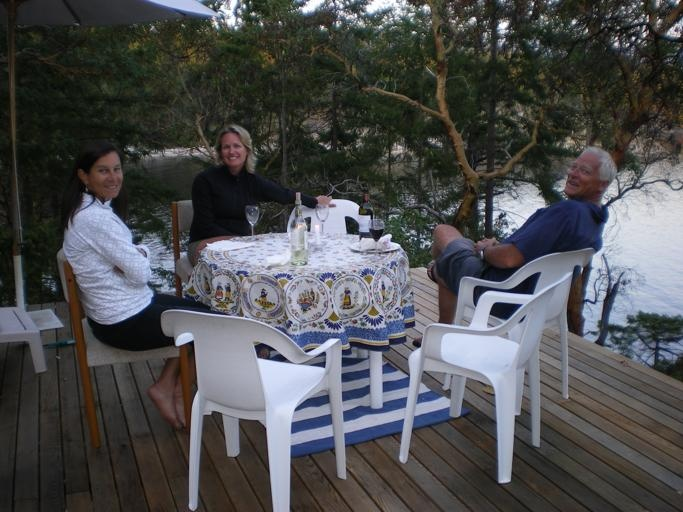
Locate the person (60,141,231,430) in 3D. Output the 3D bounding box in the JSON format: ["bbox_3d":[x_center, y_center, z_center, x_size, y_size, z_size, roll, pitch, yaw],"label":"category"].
[{"bbox_3d":[-1.276,0.193,3.125,0.715,1.706,0.363,3,12,3],"label":"person"}]

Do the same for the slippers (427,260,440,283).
[{"bbox_3d":[0.715,0.109,4.044,0.061,0.081,0.188,-2,21,-5],"label":"slippers"}]

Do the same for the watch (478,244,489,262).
[{"bbox_3d":[0.980,-0.015,3.617,0.057,0.092,0.094,2,14,26],"label":"watch"}]
